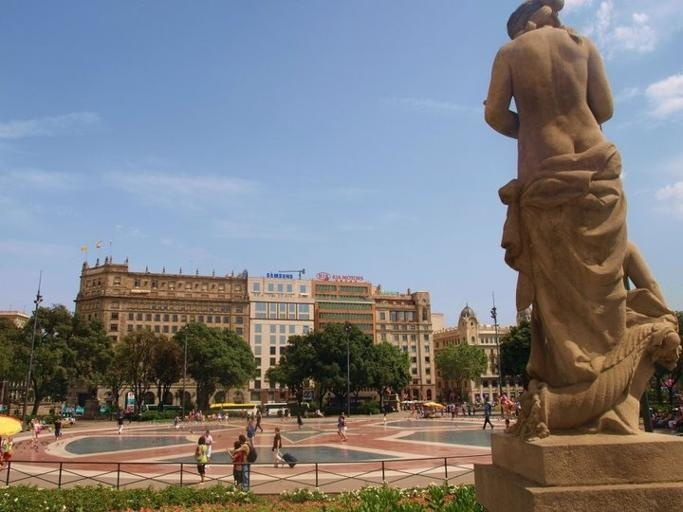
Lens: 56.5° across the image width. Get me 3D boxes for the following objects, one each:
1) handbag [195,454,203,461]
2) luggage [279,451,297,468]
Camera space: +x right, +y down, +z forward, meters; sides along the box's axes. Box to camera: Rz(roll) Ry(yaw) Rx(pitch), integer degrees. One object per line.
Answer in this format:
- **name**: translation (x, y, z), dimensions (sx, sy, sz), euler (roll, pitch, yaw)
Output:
- **handbag**: translation (-4.478, 6.345, 19.980), dimensions (0.222, 0.208, 0.408), euler (3, -13, -19)
- **luggage**: translation (-1.827, 6.987, 21.831), dimensions (0.471, 0.385, 0.903), euler (8, -19, 0)
